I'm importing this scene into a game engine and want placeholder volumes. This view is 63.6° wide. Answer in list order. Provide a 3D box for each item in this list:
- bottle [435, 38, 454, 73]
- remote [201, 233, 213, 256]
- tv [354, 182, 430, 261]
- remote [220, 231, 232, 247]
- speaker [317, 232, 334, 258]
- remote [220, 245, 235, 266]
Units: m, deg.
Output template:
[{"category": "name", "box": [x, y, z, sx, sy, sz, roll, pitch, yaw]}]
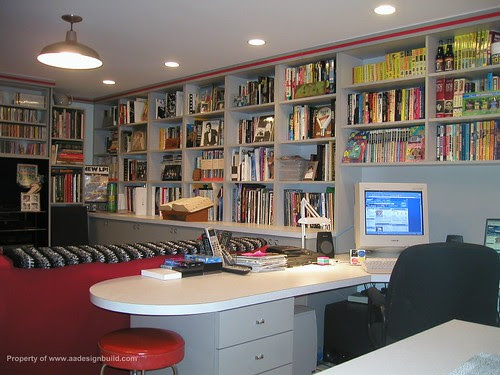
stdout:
[{"category": "bottle", "box": [1.660, -1.117, 3.446, 0.150, 0.208, 0.145, -2, 0, 0]}, {"category": "remote", "box": [-0.283, 0.375, 2.636, 0.029, 0.119, 0.125, -6, 6, -21]}, {"category": "tv", "box": [1.125, 0.251, 3.225, 0.547, 0.508, 0.296, 1, -16, 6]}, {"category": "remote", "box": [-0.164, 0.358, 2.817, 0.083, 0.108, 0.034, 4, -13, 32]}, {"category": "speaker", "box": [0.616, 0.447, 3.201, 0.131, 0.197, 0.112, -7, 12, 27]}, {"category": "remote", "box": [-0.150, 0.448, 2.657, 0.038, 0.126, 0.069, -27, -5, 32]}]
